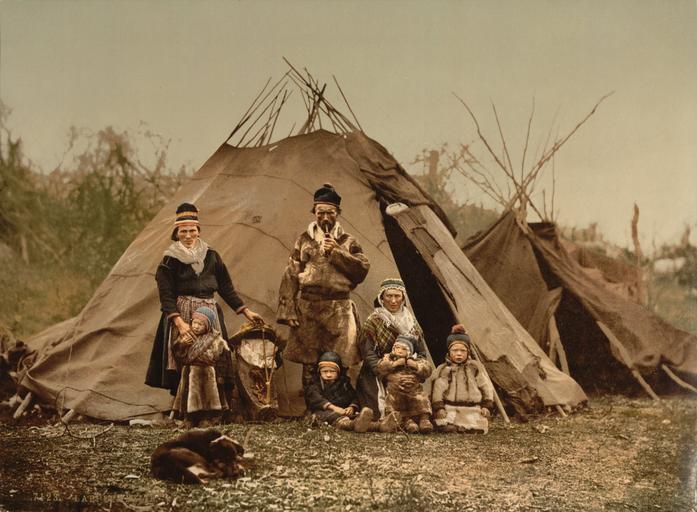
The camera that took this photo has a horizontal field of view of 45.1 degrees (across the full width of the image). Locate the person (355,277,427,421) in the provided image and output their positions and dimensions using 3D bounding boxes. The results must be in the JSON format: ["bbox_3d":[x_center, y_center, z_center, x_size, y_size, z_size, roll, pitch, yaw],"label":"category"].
[{"bbox_3d":[0.403,0.901,8.001,0.809,1.283,0.636,-7,8,-44],"label":"person"}]

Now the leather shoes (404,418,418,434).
[{"bbox_3d":[0.571,1.563,7.686,0.075,0.068,0.147,-8,6,-5],"label":"leather shoes"}]

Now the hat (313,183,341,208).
[{"bbox_3d":[-0.210,-0.606,8.145,0.267,0.230,0.185,-1,4,-14],"label":"hat"}]

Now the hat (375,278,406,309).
[{"bbox_3d":[0.393,0.341,8.073,0.218,0.282,0.313,9,-34,0],"label":"hat"}]

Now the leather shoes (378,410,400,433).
[{"bbox_3d":[0.339,1.502,7.591,0.229,0.236,0.125,-5,-8,-2],"label":"leather shoes"}]

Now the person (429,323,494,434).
[{"bbox_3d":[1.075,1.188,7.974,0.598,0.922,0.567,4,13,6],"label":"person"}]

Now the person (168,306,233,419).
[{"bbox_3d":[-1.324,0.990,7.533,0.489,0.987,0.335,0,13,-11],"label":"person"}]

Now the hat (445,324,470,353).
[{"bbox_3d":[1.055,0.789,8.187,0.194,0.246,0.239,1,-14,0],"label":"hat"}]

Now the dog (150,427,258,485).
[{"bbox_3d":[-1.215,1.579,6.756,0.548,0.270,0.448,-10,-2,4],"label":"dog"}]

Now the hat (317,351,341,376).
[{"bbox_3d":[-0.179,1.011,7.839,0.165,0.211,0.216,-1,8,1],"label":"hat"}]

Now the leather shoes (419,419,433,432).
[{"bbox_3d":[0.709,1.563,7.684,0.128,0.115,0.082,4,13,4],"label":"leather shoes"}]

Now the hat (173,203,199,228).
[{"bbox_3d":[-1.510,-0.374,7.844,0.221,0.216,0.201,0,1,-32],"label":"hat"}]

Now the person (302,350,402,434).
[{"bbox_3d":[-0.054,1.259,7.704,0.495,0.756,1.002,-10,10,-19],"label":"person"}]

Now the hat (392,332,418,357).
[{"bbox_3d":[0.531,0.802,7.849,0.165,0.215,0.164,-17,29,-2],"label":"hat"}]

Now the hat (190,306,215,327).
[{"bbox_3d":[-1.309,0.534,7.562,0.144,0.155,0.201,19,-36,14],"label":"hat"}]
